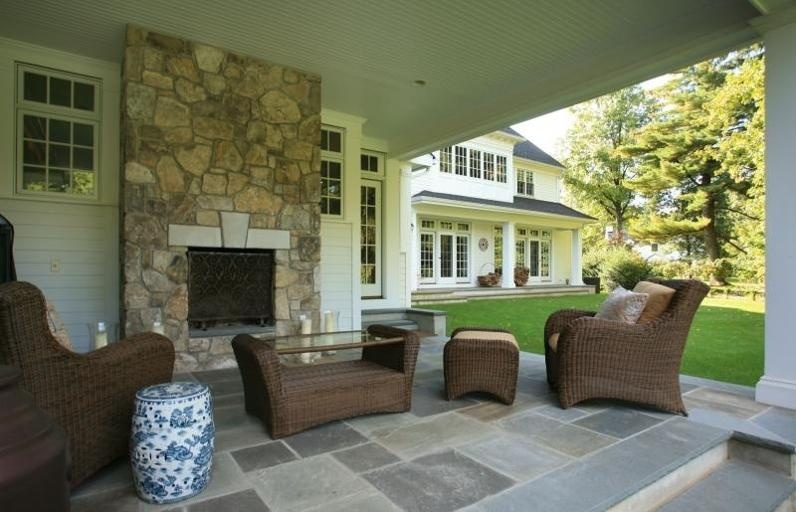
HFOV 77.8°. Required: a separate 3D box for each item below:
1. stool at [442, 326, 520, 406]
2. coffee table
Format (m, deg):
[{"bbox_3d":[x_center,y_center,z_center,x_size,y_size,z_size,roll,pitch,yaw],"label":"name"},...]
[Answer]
[{"bbox_3d":[0.881,1.099,5.250,0.731,0.529,0.927,0,-4,6],"label":"stool"},{"bbox_3d":[-0.788,0.842,4.964,1.848,0.791,1.012,0,1,-28],"label":"coffee table"}]
